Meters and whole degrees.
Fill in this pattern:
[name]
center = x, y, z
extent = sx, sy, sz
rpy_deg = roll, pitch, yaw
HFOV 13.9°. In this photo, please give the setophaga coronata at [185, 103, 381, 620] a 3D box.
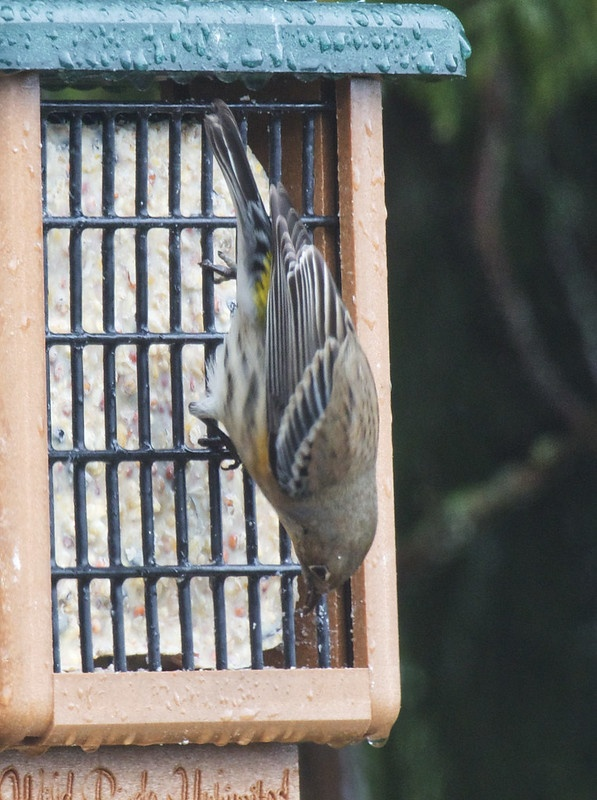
[setophaga coronata]
center = -0.014, -0.012, 4.000
extent = 0.230, 0.307, 1.000
rpy_deg = -16, 107, -61
